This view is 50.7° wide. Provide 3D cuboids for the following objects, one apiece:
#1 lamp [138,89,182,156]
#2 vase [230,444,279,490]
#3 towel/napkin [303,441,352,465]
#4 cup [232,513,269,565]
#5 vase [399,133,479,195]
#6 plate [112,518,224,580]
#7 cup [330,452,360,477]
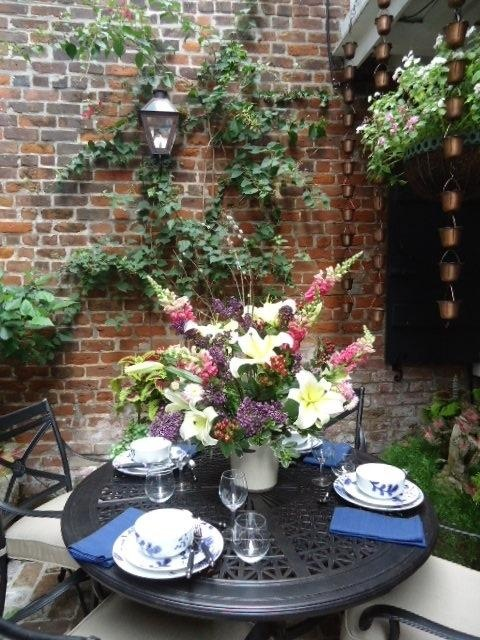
[{"bbox_3d":[-0.373,-0.913,2.333,0.171,0.285,0.128,-1,10,-10],"label":"lamp"},{"bbox_3d":[0.054,0.398,1.471,0.161,0.158,0.158,0,-2,-1],"label":"vase"},{"bbox_3d":[0.263,0.402,1.525,0.132,0.032,0.131,2,9,33],"label":"towel/napkin"},{"bbox_3d":[0.029,0.493,1.122,0.096,0.095,0.091,0,-4,0],"label":"cup"},{"bbox_3d":[0.771,-0.554,1.857,0.250,0.195,0.312,0,10,-4],"label":"vase"},{"bbox_3d":[-0.160,0.511,1.128,0.247,0.048,0.181,0,9,-1],"label":"plate"},{"bbox_3d":[0.326,0.424,1.524,0.087,0.041,0.103,0,-6,2],"label":"cup"}]
